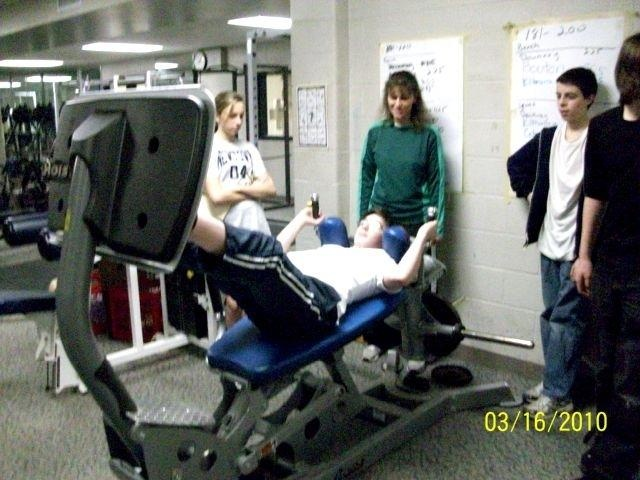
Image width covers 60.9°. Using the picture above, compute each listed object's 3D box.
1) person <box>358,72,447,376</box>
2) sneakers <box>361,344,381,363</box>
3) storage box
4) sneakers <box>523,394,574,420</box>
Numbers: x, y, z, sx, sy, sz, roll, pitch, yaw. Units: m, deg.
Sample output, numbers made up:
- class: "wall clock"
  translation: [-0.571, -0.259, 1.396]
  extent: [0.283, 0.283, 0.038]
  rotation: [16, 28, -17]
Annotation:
- class: "person"
  translation: [0.533, -0.186, 3.683]
  extent: [0.532, 1.855, 0.375]
  rotation: [7, 26, 16]
- class: "sneakers"
  translation: [0.338, 0.747, 3.595]
  extent: [0.092, 0.060, 0.116]
  rotation: [-1, 14, 2]
- class: "storage box"
  translation: [-1.392, 0.557, 3.969]
  extent: [0.211, 0.395, 0.398]
  rotation: [15, 17, 41]
- class: "sneakers"
  translation: [1.243, 0.904, 2.951]
  extent: [0.233, 0.107, 0.111]
  rotation: [0, 10, -1]
